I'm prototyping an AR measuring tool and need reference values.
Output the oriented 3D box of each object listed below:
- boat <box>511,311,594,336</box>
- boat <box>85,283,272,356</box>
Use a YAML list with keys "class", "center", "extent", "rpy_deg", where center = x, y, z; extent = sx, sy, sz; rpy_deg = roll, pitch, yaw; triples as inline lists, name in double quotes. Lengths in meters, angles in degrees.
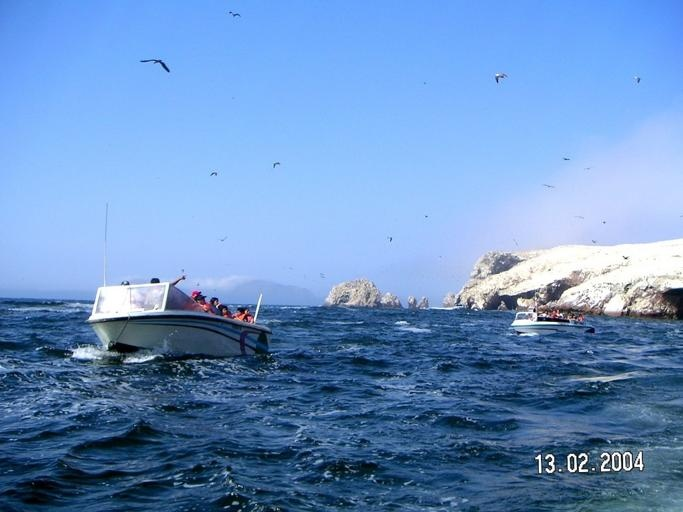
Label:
- class: "boat"
  center: [12.023, 3.766, 48.781]
  extent: [3.433, 1.083, 1.876]
  rpy_deg: [2, -3, -16]
- class: "boat"
  center: [-4.829, 2.334, 29.051]
  extent: [3.999, 2.384, 6.645]
  rpy_deg: [1, -1, 35]
